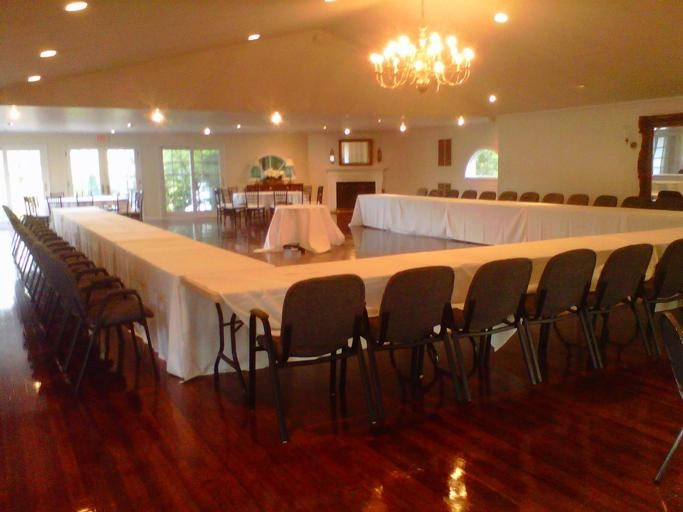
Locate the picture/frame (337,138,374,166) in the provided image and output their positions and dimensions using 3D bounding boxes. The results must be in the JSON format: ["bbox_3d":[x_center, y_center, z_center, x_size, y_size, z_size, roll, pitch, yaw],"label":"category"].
[{"bbox_3d":[0.414,-3.181,15.100,0.740,0.639,0.057,0,4,-6],"label":"picture/frame"}]
